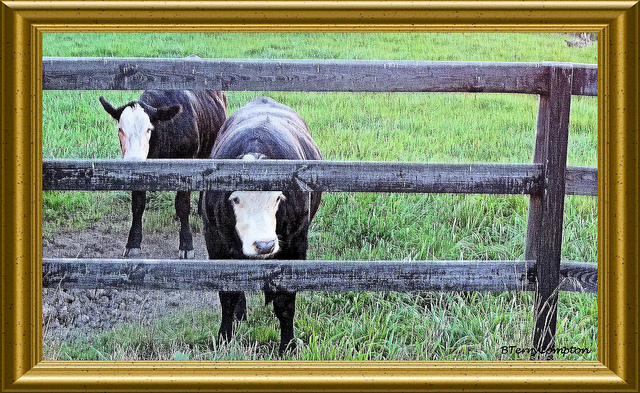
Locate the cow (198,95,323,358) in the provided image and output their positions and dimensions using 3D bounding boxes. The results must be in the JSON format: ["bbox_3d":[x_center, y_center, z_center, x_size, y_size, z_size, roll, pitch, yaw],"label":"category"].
[{"bbox_3d":[-0.535,0.044,8.075,0.834,1.621,2.302,2,21,-6],"label":"cow"}]

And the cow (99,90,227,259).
[{"bbox_3d":[-1.447,-0.362,9.628,0.768,1.566,2.929,2,10,6],"label":"cow"}]
